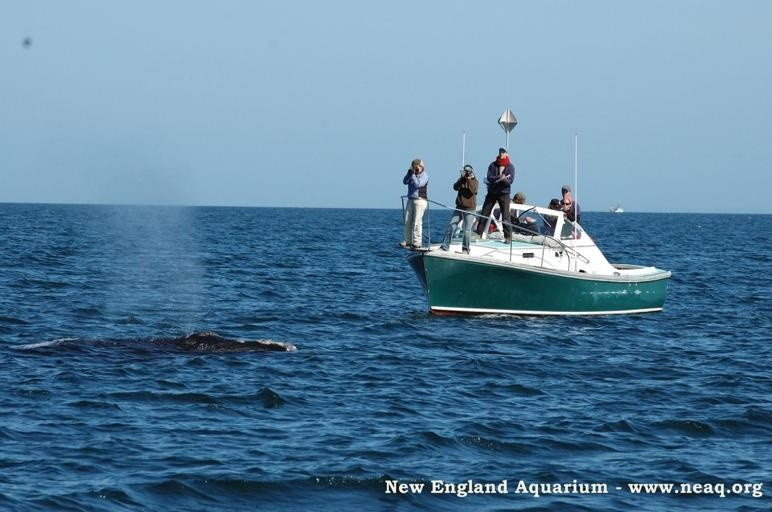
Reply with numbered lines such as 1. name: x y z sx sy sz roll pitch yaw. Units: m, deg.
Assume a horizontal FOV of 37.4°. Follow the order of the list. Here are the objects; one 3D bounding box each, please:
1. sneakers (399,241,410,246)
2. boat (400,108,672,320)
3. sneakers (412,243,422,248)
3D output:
1. sneakers: 0.512 -0.326 29.035 0.285 0.109 0.263 0 2 -2
2. boat: 4.959 -0.173 32.313 9.935 5.001 3.430 0 4 -33
3. sneakers: 0.836 -0.278 28.962 0.139 0.089 0.119 4 0 20
